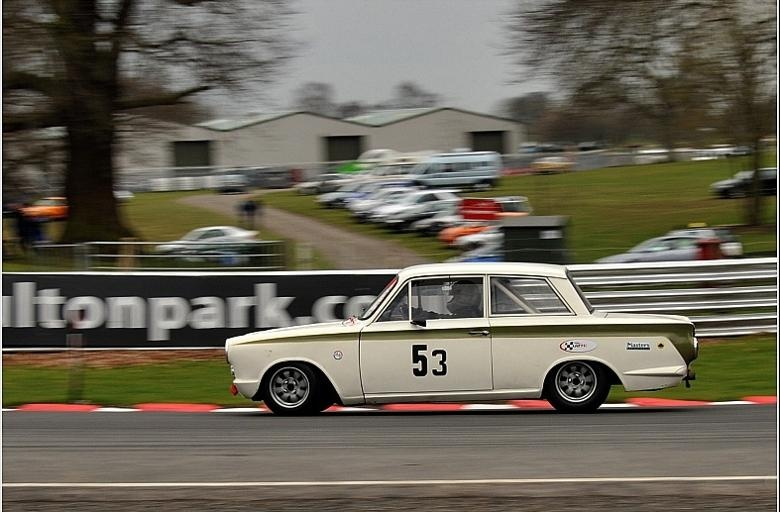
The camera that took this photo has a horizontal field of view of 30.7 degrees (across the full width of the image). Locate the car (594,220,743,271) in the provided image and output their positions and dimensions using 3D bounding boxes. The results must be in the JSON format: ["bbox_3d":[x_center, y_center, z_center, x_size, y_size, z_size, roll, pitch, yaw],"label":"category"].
[{"bbox_3d":[6.700,-0.322,34.388,3.465,0.773,1.245,-1,-2,10],"label":"car"}]

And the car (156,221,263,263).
[{"bbox_3d":[-4.437,-0.332,32.276,2.426,0.542,0.955,1,6,7],"label":"car"}]

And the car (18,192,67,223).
[{"bbox_3d":[-9.015,-1.231,37.164,1.127,0.640,1.895,-2,3,-13],"label":"car"}]
